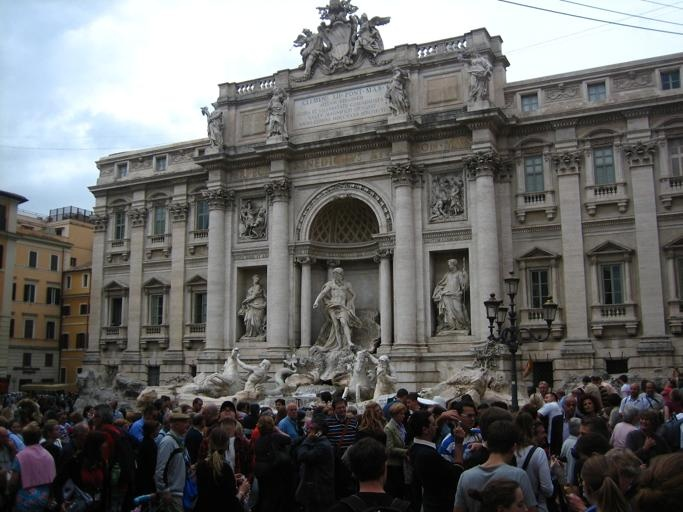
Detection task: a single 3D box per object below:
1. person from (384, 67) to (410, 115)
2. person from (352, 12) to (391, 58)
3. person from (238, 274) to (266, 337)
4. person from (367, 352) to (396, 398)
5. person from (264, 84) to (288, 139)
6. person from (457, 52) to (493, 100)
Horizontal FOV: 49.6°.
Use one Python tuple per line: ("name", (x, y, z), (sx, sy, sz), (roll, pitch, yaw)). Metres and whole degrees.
("person", (2.472, -7.205, 32.733), (1.016, 2.285, 0.578), (-3, -13, 7))
("person", (1.330, -10.160, 34.202), (1.593, 2.124, 0.557), (-11, -16, 37))
("person", (-4.257, 2.495, 35.308), (1.228, 3.059, 0.572), (-5, -13, 17))
("person", (1.469, 4.579, 26.940), (1.168, 2.185, 0.990), (-6, -10, 16))
("person", (-3.071, -6.749, 35.118), (0.907, 2.866, 0.704), (-1, -13, -1))
("person", (5.765, -7.605, 31.478), (0.828, 2.539, 1.195), (5, -14, -26))
